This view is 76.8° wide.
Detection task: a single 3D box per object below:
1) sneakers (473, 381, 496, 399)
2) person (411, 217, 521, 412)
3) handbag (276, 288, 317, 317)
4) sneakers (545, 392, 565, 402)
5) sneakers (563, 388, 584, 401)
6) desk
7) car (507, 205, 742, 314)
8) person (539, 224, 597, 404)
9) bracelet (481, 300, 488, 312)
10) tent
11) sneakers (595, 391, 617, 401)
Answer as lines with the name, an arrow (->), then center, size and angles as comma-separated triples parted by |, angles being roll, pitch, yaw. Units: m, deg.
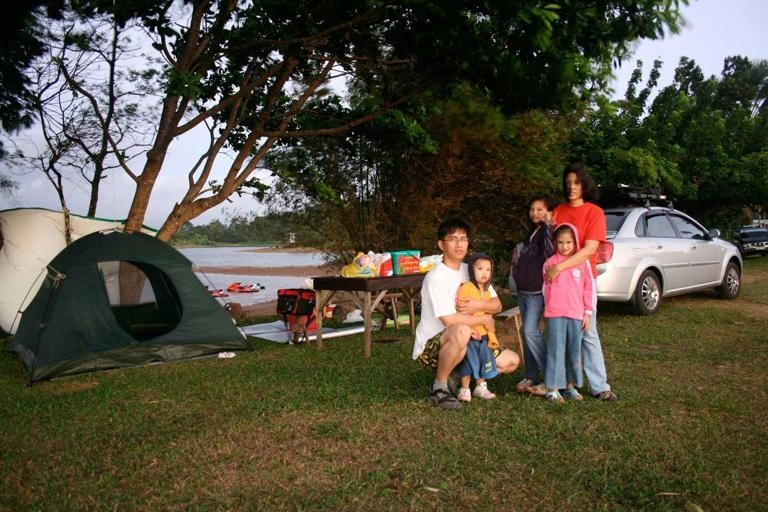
sneakers -> 1.127, 1.572, 5.669 | 0.137, 0.168, 0.284 | 3, -9, -44
person -> 0.751, 0.635, 5.412 | 0.788, 2.026, 0.598 | -10, 15, -33
handbag -> -1.507, 0.829, 8.499 | 0.513, 0.353, 0.250 | -2, -34, 17
sneakers -> 1.918, 1.571, 5.417 | 0.232, 0.099, 0.078 | -2, 5, -20
sneakers -> 2.137, 1.586, 5.523 | 0.111, 0.086, 0.212 | 0, -4, -41
desk -> -0.191, 0.849, 8.446 | 1.626, 1.444, 1.991 | 4, 14, 25
car -> 5.015, 0.059, 9.558 | 4.428, 1.606, 1.891 | -6, 5, -38
person -> 2.042, 0.652, 5.393 | 0.540, 1.950, 0.577 | 1, 13, 11
bracelet -> 1.084, 0.560, 5.369 | 0.078, 0.092, 0.090 | 10, 37, 20
tent -> -4.558, 0.949, 8.266 | 3.030, 1.868, 3.030 | -3, 2, -43
sneakers -> 2.488, 1.587, 5.494 | 0.227, 0.097, 0.093 | -6, -3, 38
